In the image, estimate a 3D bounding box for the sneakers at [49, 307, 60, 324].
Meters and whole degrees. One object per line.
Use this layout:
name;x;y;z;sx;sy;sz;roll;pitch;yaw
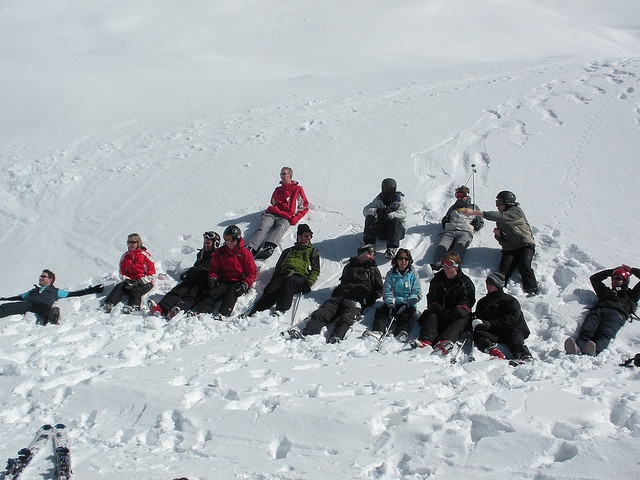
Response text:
sneakers;-5.210;1.482;11.275;0.168;0.153;0.299;22;72;-25

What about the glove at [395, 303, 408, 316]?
glove;1.597;1.323;10.993;0.193;0.086;0.192;22;77;3

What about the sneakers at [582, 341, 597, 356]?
sneakers;4.754;1.890;10.039;0.183;0.139;0.256;-6;61;44

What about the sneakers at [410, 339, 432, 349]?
sneakers;1.825;1.842;10.239;0.370;0.160;0.271;-1;45;2

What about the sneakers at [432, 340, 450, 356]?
sneakers;2.195;1.916;10.162;0.326;0.172;0.331;11;46;13

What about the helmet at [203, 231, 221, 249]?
helmet;-2.330;0.005;12.692;0.411;0.386;0.355;4;90;0

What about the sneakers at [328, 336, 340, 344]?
sneakers;0.292;1.820;10.457;0.209;0.096;0.197;0;44;2

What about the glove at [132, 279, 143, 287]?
glove;-3.825;0.888;12.050;0.208;0.068;0.220;-18;45;-17

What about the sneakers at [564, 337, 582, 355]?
sneakers;4.428;1.871;10.057;0.162;0.179;0.335;-30;56;29

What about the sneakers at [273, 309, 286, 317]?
sneakers;-0.801;1.439;11.274;0.188;0.105;0.225;14;46;16

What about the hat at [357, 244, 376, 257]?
hat;1.006;0.195;11.844;0.326;0.247;0.135;3;84;-26

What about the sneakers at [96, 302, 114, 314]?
sneakers;-4.319;1.371;11.609;0.282;0.147;0.302;-21;47;-18

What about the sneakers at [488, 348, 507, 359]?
sneakers;3.133;1.987;10.049;0.152;0.104;0.258;-12;35;-43

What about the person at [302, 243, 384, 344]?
person;0.523;1.091;11.357;1.147;1.056;2.400;23;42;33

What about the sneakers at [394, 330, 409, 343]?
sneakers;1.543;1.774;10.577;0.204;0.192;0.229;3;21;16

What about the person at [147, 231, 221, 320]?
person;-2.808;0.737;12.056;0.938;0.742;2.262;13;36;25

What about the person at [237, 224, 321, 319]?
person;-0.592;0.641;12.010;1.016;0.956;2.463;21;38;20

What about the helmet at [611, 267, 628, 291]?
helmet;5.929;0.768;11.241;0.408;0.473;0.362;-7;64;33

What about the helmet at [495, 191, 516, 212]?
helmet;4.228;-0.877;12.857;0.543;0.448;0.405;6;93;21

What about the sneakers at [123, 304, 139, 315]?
sneakers;-3.780;1.385;11.499;0.354;0.151;0.092;-11;88;-44

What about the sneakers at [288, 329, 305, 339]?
sneakers;-0.417;1.728;10.496;0.295;0.150;0.079;14;72;-8

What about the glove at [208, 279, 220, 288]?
glove;-2.209;0.912;11.912;0.195;0.163;0.271;-10;45;-6

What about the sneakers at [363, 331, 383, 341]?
sneakers;0.989;1.741;10.544;0.305;0.092;0.188;16;47;18
